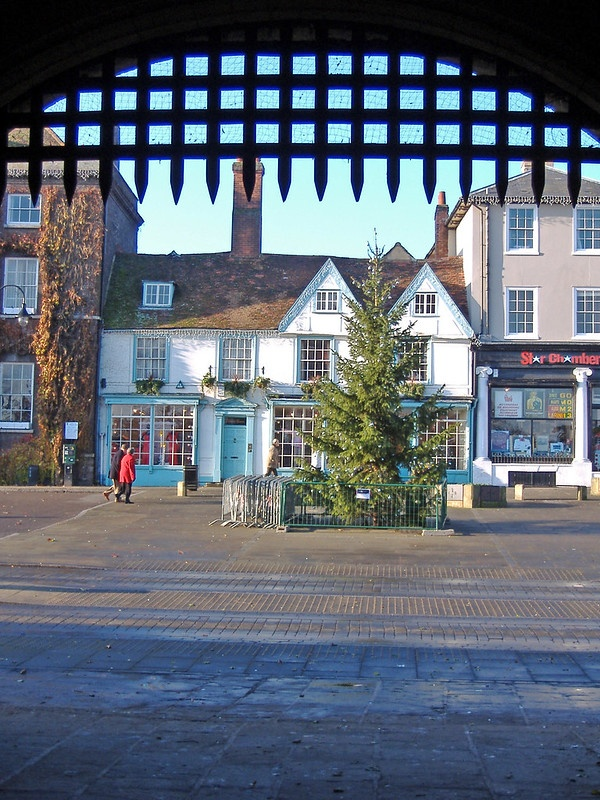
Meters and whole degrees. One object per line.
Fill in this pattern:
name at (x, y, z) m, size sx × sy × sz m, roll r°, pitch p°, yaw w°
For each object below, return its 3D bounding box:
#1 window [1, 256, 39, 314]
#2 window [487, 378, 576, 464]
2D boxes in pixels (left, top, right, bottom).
window at (-9.022, -3.660, 33.774) m, size 1.214 × 1.949 × 0.466 m, roll 0°, pitch -4°, yaw 11°
window at (7.568, 0.708, 33.678) m, size 2.805 × 2.738 × 0.129 m, roll 1°, pitch 0°, yaw 7°
